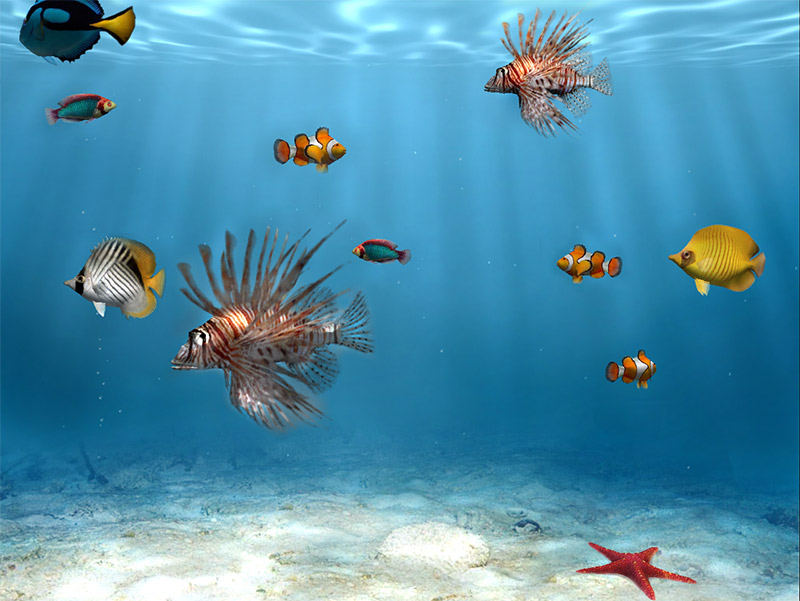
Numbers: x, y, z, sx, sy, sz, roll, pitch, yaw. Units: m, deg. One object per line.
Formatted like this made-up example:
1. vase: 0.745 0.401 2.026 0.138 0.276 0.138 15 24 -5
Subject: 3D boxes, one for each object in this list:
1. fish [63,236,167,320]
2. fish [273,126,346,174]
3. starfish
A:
1. fish: -2.635 -0.227 7.273 0.765 0.243 0.707 36 -72 -10
2. fish: -0.984 -1.666 8.500 0.764 0.470 0.453 -12 -70 7
3. starfish: 2.591 3.004 8.668 0.704 0.707 0.123 10 -80 41
